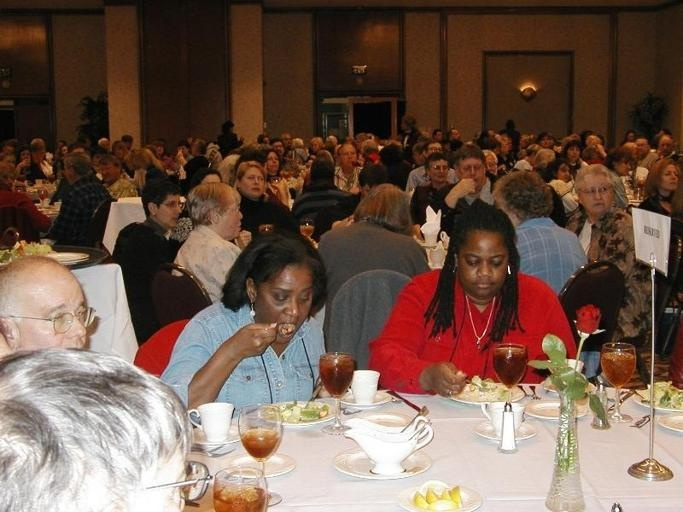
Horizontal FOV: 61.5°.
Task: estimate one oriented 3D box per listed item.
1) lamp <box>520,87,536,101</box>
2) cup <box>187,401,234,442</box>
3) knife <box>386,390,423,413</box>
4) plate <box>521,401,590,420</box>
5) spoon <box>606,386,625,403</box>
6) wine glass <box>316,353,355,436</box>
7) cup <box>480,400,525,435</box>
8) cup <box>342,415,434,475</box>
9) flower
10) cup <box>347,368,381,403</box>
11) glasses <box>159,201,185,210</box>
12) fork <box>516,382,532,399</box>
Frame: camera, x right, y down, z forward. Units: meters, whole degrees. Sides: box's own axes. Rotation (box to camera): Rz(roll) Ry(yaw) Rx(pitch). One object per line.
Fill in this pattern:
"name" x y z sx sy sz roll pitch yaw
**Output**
"lamp" 5.362 -4.682 16.459 0.494 0.406 0.132 -3 14 -13
"cup" -0.362 0.469 1.596 0.122 0.094 0.105 -2 -3 -2
"knife" 0.203 0.474 1.857 0.019 0.017 0.144 24 2 -29
"plate" 0.663 0.484 1.780 0.171 0.019 0.174 0 4 41
"spoon" 0.900 0.458 1.890 0.029 0.003 0.077 -26 -2 7
"wine glass" -0.010 0.413 1.725 0.126 0.219 0.131 -3 -2 28
"cup" 0.453 0.446 1.619 0.108 0.078 0.091 -3 -4 25
"cup" 0.119 0.470 1.456 0.209 0.132 0.120 1 1 -1
"flower" 0.536 0.267 1.340 0.156 0.281 0.125 12 -6 -15
"cup" 0.073 0.420 1.872 0.096 0.101 0.101 1 -7 0
"glasses" -1.381 -0.412 4.642 0.215 0.068 0.214 5 7 30
"fork" 0.634 0.468 1.999 0.033 0.040 0.045 2 -18 6
